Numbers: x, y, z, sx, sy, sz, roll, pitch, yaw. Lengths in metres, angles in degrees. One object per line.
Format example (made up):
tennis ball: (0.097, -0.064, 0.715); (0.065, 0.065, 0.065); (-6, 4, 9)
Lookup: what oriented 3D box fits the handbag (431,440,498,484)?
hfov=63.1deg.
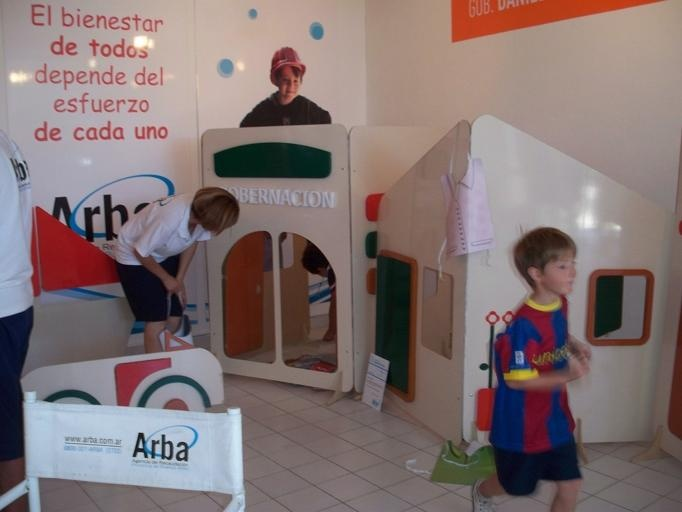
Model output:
handbag: (0.533, 0.934, 2.455); (0.275, 0.206, 0.194); (-5, 5, 24)

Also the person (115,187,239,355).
person: (-1.014, 0.089, 3.459); (0.793, 1.028, 0.390); (0, 11, 7)

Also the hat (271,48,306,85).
hat: (-0.511, -1.670, 4.902); (0.237, 0.185, 0.320); (-2, -3, -14)
